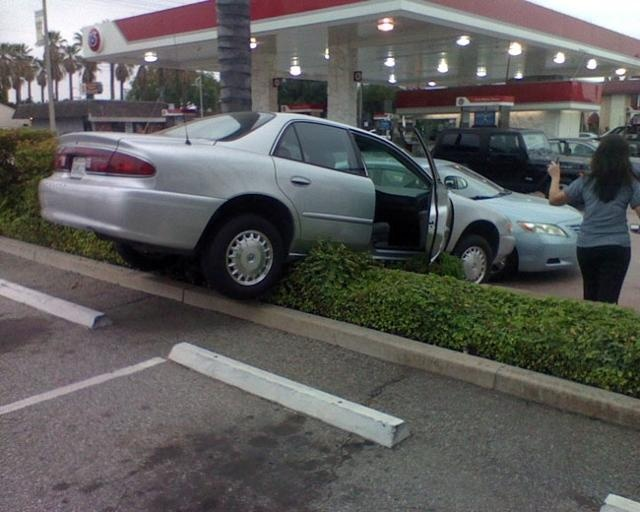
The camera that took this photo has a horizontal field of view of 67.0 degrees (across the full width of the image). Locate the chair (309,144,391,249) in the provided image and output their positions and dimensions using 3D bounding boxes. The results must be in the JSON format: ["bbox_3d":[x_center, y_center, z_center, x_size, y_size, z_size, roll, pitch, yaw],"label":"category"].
[{"bbox_3d":[0.256,-0.699,5.843,1.314,0.654,0.779,3,0,-40],"label":"chair"}]
